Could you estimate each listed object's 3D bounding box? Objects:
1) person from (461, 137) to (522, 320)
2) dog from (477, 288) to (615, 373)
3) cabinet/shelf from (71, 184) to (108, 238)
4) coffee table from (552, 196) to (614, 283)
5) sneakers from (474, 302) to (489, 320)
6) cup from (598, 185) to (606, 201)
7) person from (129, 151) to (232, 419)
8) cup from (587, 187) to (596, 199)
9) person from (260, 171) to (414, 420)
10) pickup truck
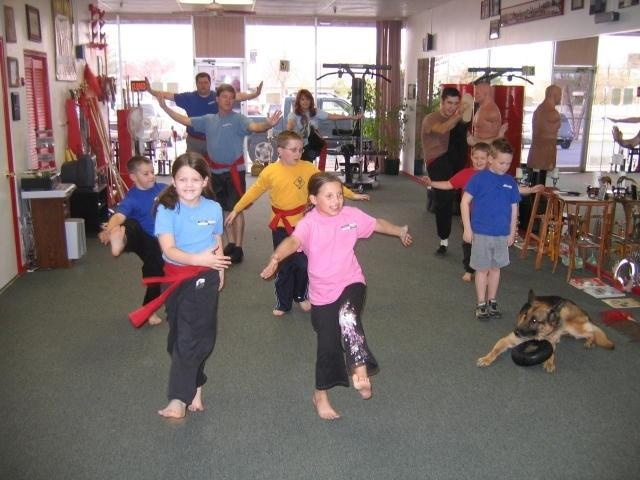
[{"bbox_3d":[1.500,0.028,4.628,0.491,1.370,0.405,4,17,15],"label":"person"},{"bbox_3d":[1.791,0.575,4.134,1.041,0.528,0.568,-14,14,-25],"label":"dog"},{"bbox_3d":[-3.119,-0.399,6.944,0.354,0.645,0.673,0,20,-8],"label":"cabinet/shelf"},{"bbox_3d":[3.012,-0.094,5.951,0.599,0.888,1.243,8,19,28],"label":"coffee table"},{"bbox_3d":[1.481,0.656,4.667,0.090,0.069,0.152,-1,9,6],"label":"sneakers"},{"bbox_3d":[3.156,-0.539,5.773,0.075,0.123,0.252,8,19,27],"label":"cup"},{"bbox_3d":[-0.835,0.312,3.238,0.570,1.656,0.460,-7,18,-20],"label":"person"},{"bbox_3d":[3.084,-0.547,5.838,0.089,0.101,0.174,6,18,22],"label":"cup"},{"bbox_3d":[0.081,0.259,3.229,0.651,1.294,0.810,4,17,14],"label":"person"},{"bbox_3d":[-0.228,-2.367,11.220,2.226,1.216,1.195,14,20,37],"label":"pickup truck"}]
